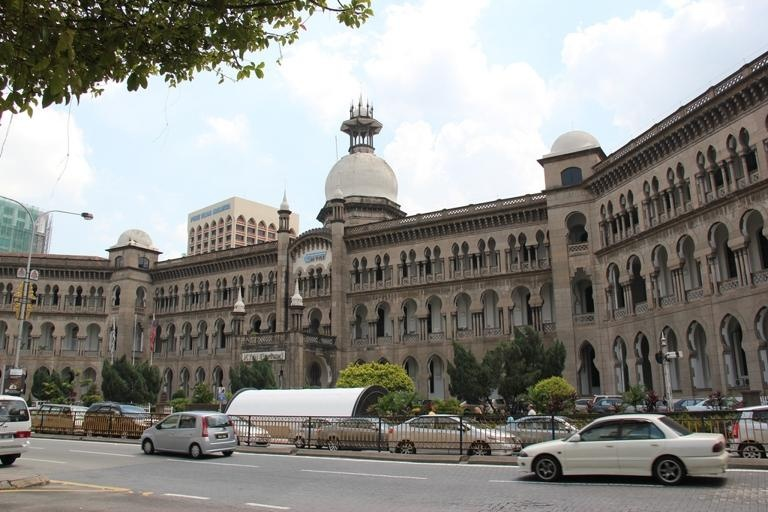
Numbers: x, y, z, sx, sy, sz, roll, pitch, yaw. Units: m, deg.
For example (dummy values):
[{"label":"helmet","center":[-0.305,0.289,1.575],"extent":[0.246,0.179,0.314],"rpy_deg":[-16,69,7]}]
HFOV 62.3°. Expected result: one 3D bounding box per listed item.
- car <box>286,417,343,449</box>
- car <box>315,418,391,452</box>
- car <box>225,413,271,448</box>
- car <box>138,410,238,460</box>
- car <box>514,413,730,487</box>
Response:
[{"label":"car","center":[-3.428,8.348,29.837],"extent":[2.205,1.260,1.394],"rpy_deg":[-20,-33,30]},{"label":"car","center":[-1.327,8.055,28.754],"extent":[3.337,1.378,0.674],"rpy_deg":[-10,-20,30]},{"label":"car","center":[-6.900,8.858,31.803],"extent":[2.526,0.884,1.190],"rpy_deg":[-12,-18,34]},{"label":"car","center":[-8.306,7.678,27.179],"extent":[3.695,1.835,1.119],"rpy_deg":[-7,-18,22]},{"label":"car","center":[7.613,6.097,20.538],"extent":[5.711,1.859,2.479],"rpy_deg":[-6,-20,19]}]
